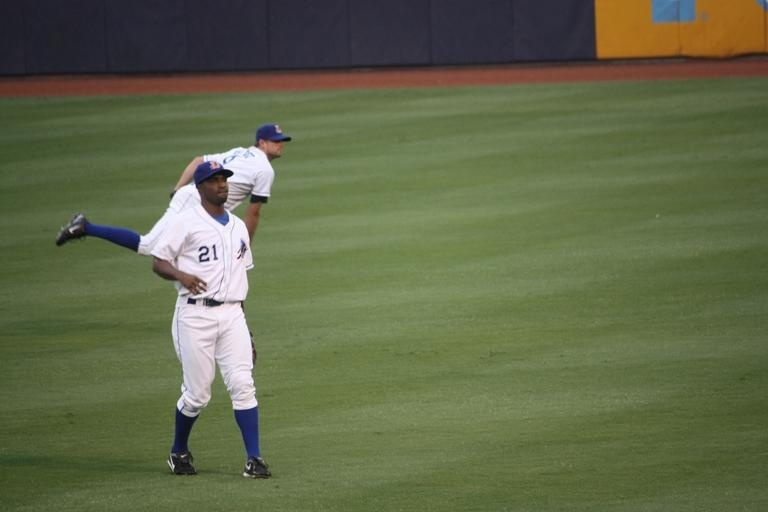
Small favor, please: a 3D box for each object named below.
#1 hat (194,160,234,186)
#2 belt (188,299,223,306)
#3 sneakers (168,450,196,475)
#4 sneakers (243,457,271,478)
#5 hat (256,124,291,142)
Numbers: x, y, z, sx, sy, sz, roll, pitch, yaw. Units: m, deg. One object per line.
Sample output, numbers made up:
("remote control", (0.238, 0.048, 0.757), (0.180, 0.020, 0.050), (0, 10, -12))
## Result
("hat", (-2.340, -1.139, 23.677), (0.458, 0.212, 0.319), (-16, 4, 11))
("belt", (-2.421, 0.623, 23.524), (0.477, 0.108, 0.037), (0, 0, -6))
("sneakers", (-2.782, 2.841, 23.690), (0.232, 0.162, 0.408), (-2, 6, -30))
("sneakers", (-1.714, 2.897, 23.550), (0.206, 0.167, 0.403), (1, -2, -45))
("hat", (-1.617, -1.794, 25.393), (0.472, 0.237, 0.291), (-6, 11, 4))
